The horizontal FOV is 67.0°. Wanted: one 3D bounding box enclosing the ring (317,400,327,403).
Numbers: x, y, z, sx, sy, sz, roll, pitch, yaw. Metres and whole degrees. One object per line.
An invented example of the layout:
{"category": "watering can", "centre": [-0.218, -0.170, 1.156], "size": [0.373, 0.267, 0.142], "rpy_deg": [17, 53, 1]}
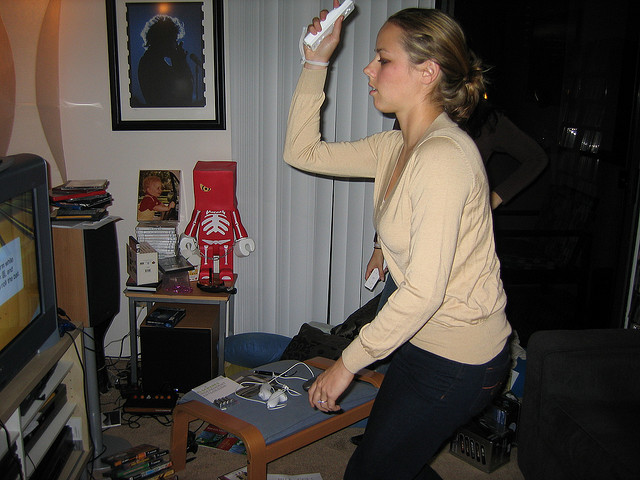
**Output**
{"category": "ring", "centre": [0.003, 0.450, 1.353], "size": [0.013, 0.005, 0.010], "rpy_deg": [3, -3, -27]}

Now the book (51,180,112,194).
{"category": "book", "centre": [-1.378, -0.302, 2.767], "size": [0.435, 0.046, 0.331], "rpy_deg": [-7, 13, -33]}

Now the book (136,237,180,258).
{"category": "book", "centre": [-1.052, 0.048, 3.137], "size": [0.257, 0.132, 0.108], "rpy_deg": [-2, 13, -20]}

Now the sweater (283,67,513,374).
{"category": "sweater", "centre": [0.213, -0.079, 1.520], "size": [0.622, 0.959, 0.680], "rpy_deg": [-9, 14, -28]}

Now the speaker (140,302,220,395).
{"category": "speaker", "centre": [-0.813, 0.655, 3.088], "size": [0.472, 0.523, 0.495], "rpy_deg": [1, -5, 1]}

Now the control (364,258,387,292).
{"category": "control", "centre": [0.267, 0.195, 2.401], "size": [0.065, 0.055, 0.233], "rpy_deg": [26, 50, 1]}

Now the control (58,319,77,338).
{"category": "control", "centre": [-1.183, 0.405, 2.247], "size": [0.072, 0.029, 0.067], "rpy_deg": [16, 9, 36]}

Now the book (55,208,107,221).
{"category": "book", "centre": [-1.251, -0.125, 2.523], "size": [0.239, 0.051, 0.084], "rpy_deg": [-6, 14, -33]}

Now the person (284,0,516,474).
{"category": "person", "centre": [0.251, -0.004, 1.505], "size": [0.599, 1.345, 0.616], "rpy_deg": [0, 12, -9]}

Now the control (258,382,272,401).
{"category": "control", "centre": [-0.251, 0.689, 2.206], "size": [0.043, 0.020, 0.062], "rpy_deg": [0, 43, -3]}

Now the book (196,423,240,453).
{"category": "book", "centre": [-0.566, 1.101, 2.672], "size": [0.213, 0.009, 0.251], "rpy_deg": [7, 1, -15]}

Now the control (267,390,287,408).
{"category": "control", "centre": [-0.196, 0.710, 2.168], "size": [0.046, 0.040, 0.074], "rpy_deg": [9, 12, 17]}
